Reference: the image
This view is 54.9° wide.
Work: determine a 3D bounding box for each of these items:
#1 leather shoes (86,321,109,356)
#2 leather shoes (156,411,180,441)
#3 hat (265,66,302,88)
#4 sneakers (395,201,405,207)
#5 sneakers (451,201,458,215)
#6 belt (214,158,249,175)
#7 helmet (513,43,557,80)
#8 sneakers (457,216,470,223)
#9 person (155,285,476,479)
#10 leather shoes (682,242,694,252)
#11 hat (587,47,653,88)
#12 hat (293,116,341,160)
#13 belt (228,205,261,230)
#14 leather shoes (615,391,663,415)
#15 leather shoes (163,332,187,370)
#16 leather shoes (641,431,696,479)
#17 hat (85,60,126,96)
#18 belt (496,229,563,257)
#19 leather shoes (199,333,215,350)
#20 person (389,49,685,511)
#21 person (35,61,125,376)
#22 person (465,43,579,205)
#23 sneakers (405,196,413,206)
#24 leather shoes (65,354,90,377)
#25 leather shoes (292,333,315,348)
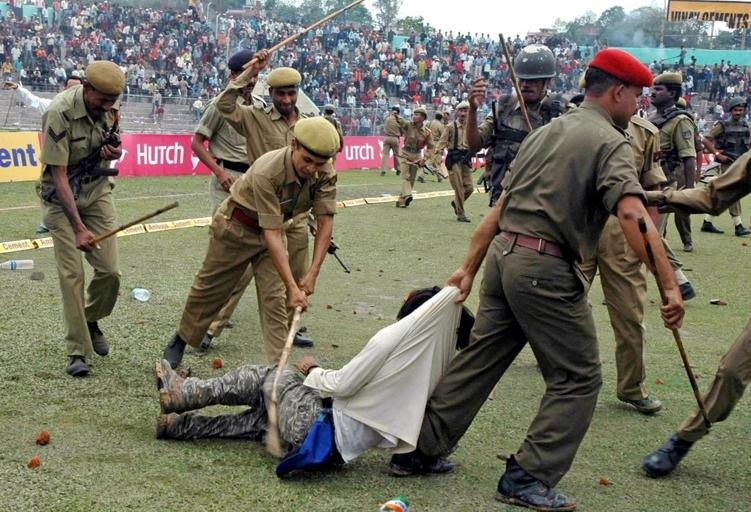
[{"bbox_3d":[-2.390,0.714,6.212,0.116,0.360,0.139,-22,-14,-29],"label":"leather shoes"},{"bbox_3d":[-1.443,1.181,5.016,0.142,0.185,0.091,9,4,10],"label":"leather shoes"},{"bbox_3d":[-0.831,-1.605,6.476,0.300,0.174,0.199,0,13,-13],"label":"hat"},{"bbox_3d":[0.521,-1.123,15.520,0.152,0.149,0.093,9,11,0],"label":"sneakers"},{"bbox_3d":[1.616,-1.010,14.571,0.124,0.153,0.360,-9,43,-7],"label":"sneakers"},{"bbox_3d":[-1.442,-0.917,7.271,0.186,0.083,0.222,15,10,37],"label":"belt"},{"bbox_3d":[1.453,-1.801,6.610,0.433,0.288,0.566,9,22,28],"label":"helmet"},{"bbox_3d":[1.709,-0.726,13.970,0.102,0.114,0.289,-6,4,-24],"label":"sneakers"},{"bbox_3d":[-0.311,0.824,4.947,2.387,1.042,0.956,-7,2,-7],"label":"person"},{"bbox_3d":[4.932,-0.137,11.363,0.094,0.119,0.287,-3,0,27],"label":"leather shoes"},{"bbox_3d":[1.539,-1.140,4.532,0.295,0.083,0.274,30,13,18],"label":"hat"},{"bbox_3d":[-0.426,-0.874,5.179,0.282,0.138,0.310,5,33,-38],"label":"hat"},{"bbox_3d":[-1.049,-0.297,5.816,0.170,0.082,0.228,44,-1,31],"label":"belt"},{"bbox_3d":[2.115,1.164,5.821,0.349,0.161,0.141,5,10,37],"label":"leather shoes"},{"bbox_3d":[-1.681,0.804,6.055,0.112,0.117,0.353,-37,16,4],"label":"leather shoes"},{"bbox_3d":[1.987,1.376,4.923,0.499,0.221,0.174,-21,63,-43],"label":"leather shoes"},{"bbox_3d":[-2.208,-1.442,5.928,0.392,0.157,0.450,8,5,-32],"label":"hat"},{"bbox_3d":[1.000,-0.070,4.481,0.206,0.050,0.186,18,4,-19],"label":"belt"},{"bbox_3d":[-1.530,0.776,6.548,0.125,0.147,0.055,21,-6,6],"label":"leather shoes"},{"bbox_3d":[1.129,0.116,4.587,1.455,2.819,0.879,7,14,19],"label":"person"},{"bbox_3d":[-2.443,-0.350,5.979,0.669,2.484,0.918,4,13,8],"label":"person"},{"bbox_3d":[1.416,-0.774,6.874,1.017,2.333,1.019,-3,9,6],"label":"person"},{"bbox_3d":[0.727,-1.198,15.558,0.093,0.266,0.111,5,17,-24],"label":"sneakers"},{"bbox_3d":[-2.433,0.871,5.877,0.179,0.160,0.256,-3,14,-22],"label":"leather shoes"},{"bbox_3d":[-0.718,0.804,6.767,0.264,0.111,0.099,-3,-1,26],"label":"leather shoes"}]
